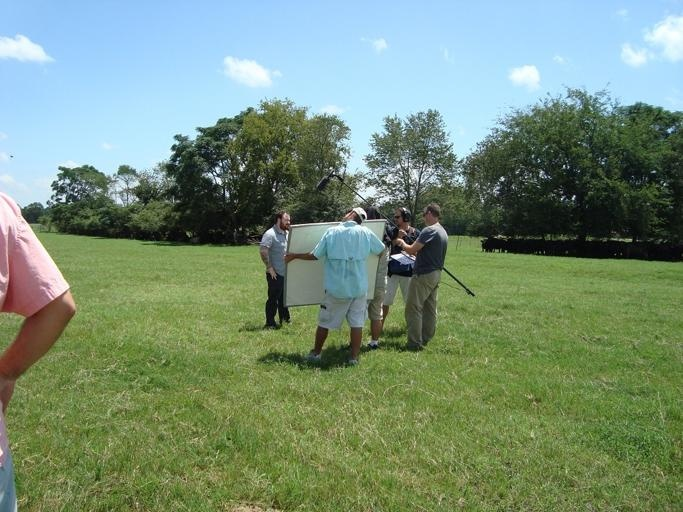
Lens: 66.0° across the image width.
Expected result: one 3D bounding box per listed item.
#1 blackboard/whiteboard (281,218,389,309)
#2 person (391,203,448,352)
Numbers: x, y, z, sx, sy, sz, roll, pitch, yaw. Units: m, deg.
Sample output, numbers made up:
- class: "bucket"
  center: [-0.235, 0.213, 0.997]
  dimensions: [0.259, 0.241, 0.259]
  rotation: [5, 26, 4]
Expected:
- class: "blackboard/whiteboard"
  center: [-0.074, 0.163, 9.451]
  dimensions: [1.584, 1.563, 0.133]
  rotation: [-3, 15, -17]
- class: "person"
  center: [1.639, 0.612, 10.203]
  dimensions: [0.817, 2.363, 0.624]
  rotation: [1, 11, -9]
